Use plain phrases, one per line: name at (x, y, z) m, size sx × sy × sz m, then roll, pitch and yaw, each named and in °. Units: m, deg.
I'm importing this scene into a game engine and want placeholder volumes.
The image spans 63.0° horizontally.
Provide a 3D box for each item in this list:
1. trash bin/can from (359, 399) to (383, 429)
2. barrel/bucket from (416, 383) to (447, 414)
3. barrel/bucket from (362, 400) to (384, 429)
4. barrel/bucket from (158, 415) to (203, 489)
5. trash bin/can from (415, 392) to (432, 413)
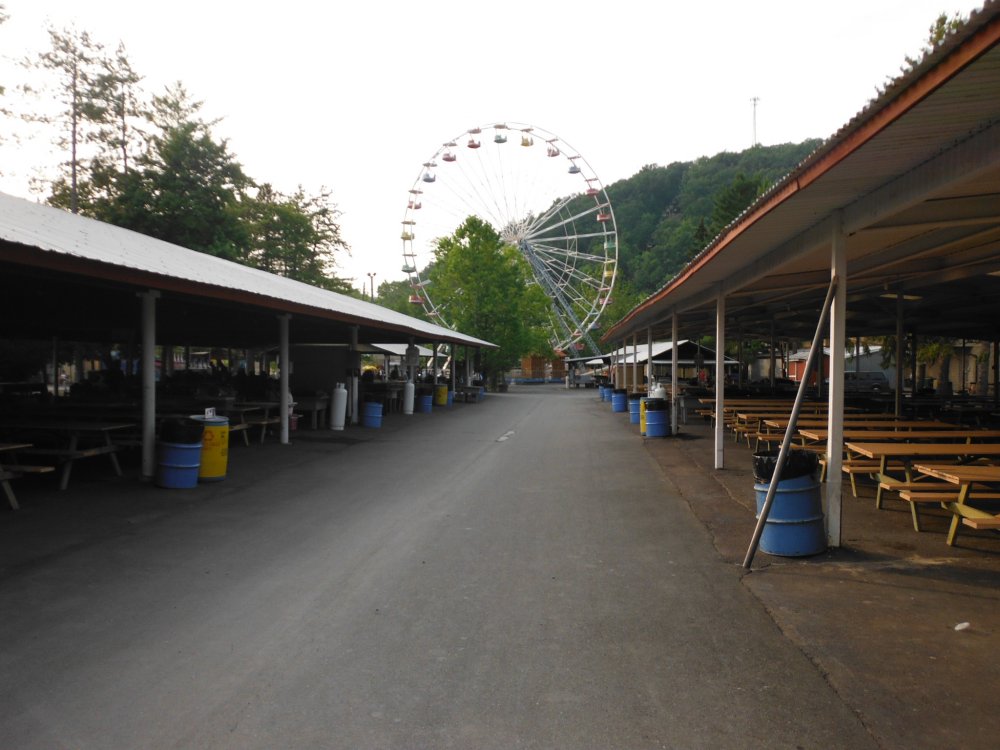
trash bin/can at (-3.510, 1.096, 22.585) m, size 0.642 × 0.723 × 0.677 m, roll -2°, pitch -1°, yaw 37°
barrel/bucket at (-2.680, 0.953, 33.245) m, size 1.063 × 1.103 × 0.876 m, roll 1°, pitch 0°, yaw 5°
barrel/bucket at (-3.546, 1.114, 22.536) m, size 0.592 × 0.694 × 0.650 m, roll -1°, pitch -1°, yaw 0°
barrel/bucket at (-4.747, 1.207, 12.470) m, size 0.790 × 1.315 × 0.837 m, roll 0°, pitch -4°, yaw 0°
trash bin/can at (-2.716, 0.983, 29.081) m, size 0.619 × 0.778 × 0.672 m, roll -1°, pitch -3°, yaw -2°
